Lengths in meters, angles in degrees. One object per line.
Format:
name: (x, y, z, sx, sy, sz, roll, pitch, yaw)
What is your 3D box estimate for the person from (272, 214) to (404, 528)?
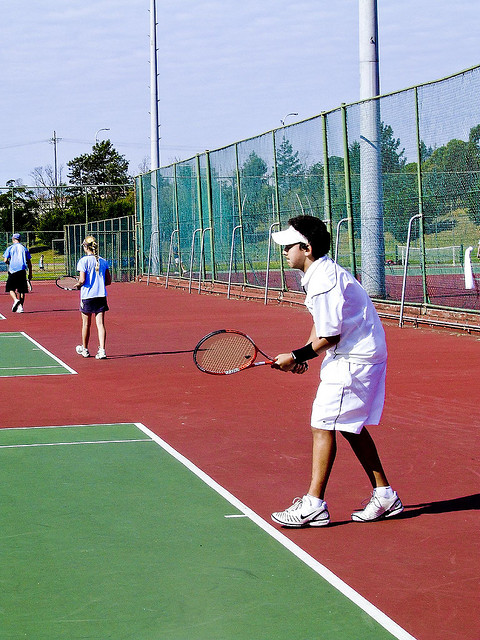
person: (0.472, 0.256, 4.096, 0.627, 1.536, 0.532, 1, 5, 12)

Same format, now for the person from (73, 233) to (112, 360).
person: (-2.004, -0.338, 11.274, 0.497, 1.595, 1.375, -1, 5, -11)

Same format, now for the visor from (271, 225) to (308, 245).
visor: (0.231, -0.404, 4.045, 0.147, 0.054, 0.092, 9, 12, -12)

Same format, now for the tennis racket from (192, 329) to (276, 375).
tennis racket: (-0.093, 0.200, 5.209, 0.380, 0.305, 0.543, -1, 5, -2)
